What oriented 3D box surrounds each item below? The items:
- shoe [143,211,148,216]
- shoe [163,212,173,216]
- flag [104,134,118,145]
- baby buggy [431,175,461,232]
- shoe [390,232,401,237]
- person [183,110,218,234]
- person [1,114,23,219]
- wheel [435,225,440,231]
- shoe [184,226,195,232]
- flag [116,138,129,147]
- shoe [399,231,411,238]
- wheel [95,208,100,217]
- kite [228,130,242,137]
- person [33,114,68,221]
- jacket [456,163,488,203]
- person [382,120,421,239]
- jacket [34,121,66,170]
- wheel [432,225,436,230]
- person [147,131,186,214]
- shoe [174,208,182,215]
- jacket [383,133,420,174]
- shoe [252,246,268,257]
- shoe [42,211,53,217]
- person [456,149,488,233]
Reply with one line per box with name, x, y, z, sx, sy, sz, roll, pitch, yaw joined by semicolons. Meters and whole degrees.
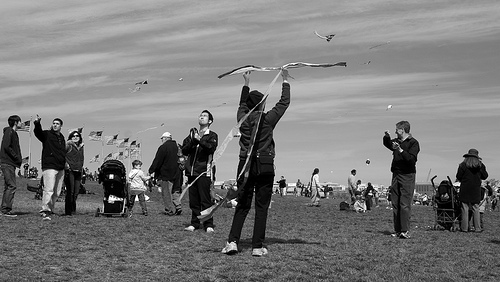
shoe;-4.190;2.938;24.192;0.264;0.222;0.134;-2;-8;5
shoe;-3.318;2.959;24.343;0.291;0.103;0.909;0;3;-19
flag;-17.237;-0.142;75.625;1.205;0.985;2.517;2;3;4
baby buggy;7.406;2.439;22.764;1.092;1.974;1.331;-1;4;-41
shoe;4.811;3.135;20.026;0.108;0.113;0.286;5;-1;-23
person;-1.663;1.024;19.942;1.121;4.013;0.711;2;4;-4
person;-8.687;0.940;21.954;0.686;3.687;0.967;1;4;-21
wheel;7.062;3.294;22.699;0.054;0.148;0.168;15;-19;-39
shoe;-1.997;2.921;19.889;0.354;0.134;0.310;1;3;-5
flag;-13.699;0.250;64.769;1.228;1.076;0.584;6;6;27
shoe;5.164;3.094;19.880;0.522;0.251;0.255;-1;4;-43
wheel;-5.820;2.759;22.988;0.159;0.313;0.532;1;3;-14
kite;-0.396;-0.195;16.308;0.088;0.271;0.315;16;-13;-40
person;-7.282;0.988;21.806;0.833;3.593;1.246;2;4;6
jacket;8.310;1.595;22.685;1.026;1.461;0.566;2;4;9
person;5.016;1.313;20.134;1.091;3.880;1.062;3;4;12
jacket;-7.256;0.193;21.905;0.514;1.734;1.310;5;5;43
wheel;6.996;3.327;22.836;0.162;0.194;0.202;0;4;6
person;-3.316;1.345;24.293;1.396;3.289;0.878;1;4;-14
shoe;-2.909;2.894;24.339;0.319;0.303;0.828;1;-5;-14
jacket;5.097;0.457;20.210;1.005;1.320;0.633;4;4;32
shoe;0.252;3.107;16.732;0.177;0.155;0.400;4;7;27
shoe;-7.243;2.651;21.559;0.290;0.278;0.512;1;3;-10
person;8.239;1.862;22.454;1.038;3.064;1.242;3;4;20
